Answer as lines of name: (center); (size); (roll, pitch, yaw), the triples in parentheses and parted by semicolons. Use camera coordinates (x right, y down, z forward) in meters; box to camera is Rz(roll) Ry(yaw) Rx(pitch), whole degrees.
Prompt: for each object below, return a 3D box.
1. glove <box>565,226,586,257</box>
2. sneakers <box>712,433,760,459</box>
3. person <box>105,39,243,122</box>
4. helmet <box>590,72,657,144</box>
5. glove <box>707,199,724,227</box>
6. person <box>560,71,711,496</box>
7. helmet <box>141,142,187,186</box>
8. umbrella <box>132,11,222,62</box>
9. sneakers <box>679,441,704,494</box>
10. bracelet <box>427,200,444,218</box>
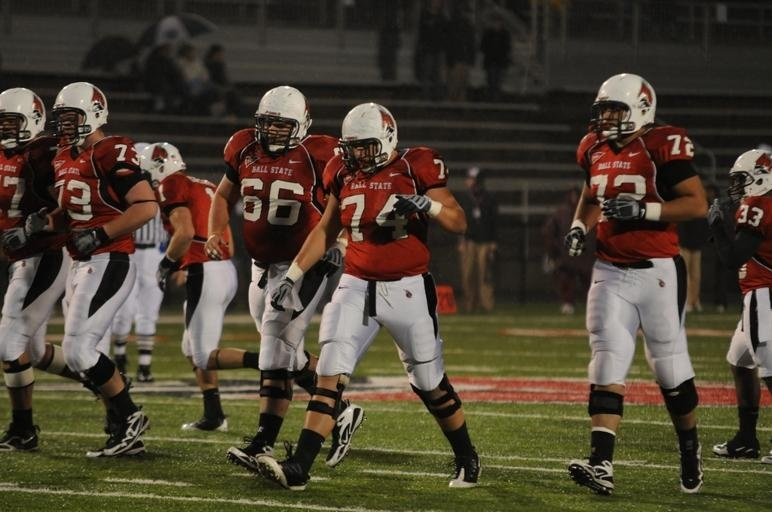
glove: (1.704, -0.135, 12.148); (0.105, 0.238, 0.178); (5, -3, 0)
sneakers: (3.244, 1.762, 12.669); (0.458, 0.227, 0.187); (2, -9, 4)
person: (-3.768, -3.563, 26.302); (1.363, 1.696, 0.845); (-3, 41, 3)
helmet: (2.101, -1.317, 12.170); (0.662, 0.509, 0.496); (-5, 4, -25)
glove: (3.039, -0.401, 12.524); (0.109, 0.306, 0.126); (35, -26, -29)
person: (2.210, 0.190, 12.005); (1.210, 3.564, 1.283); (0, 8, -1)
helmet: (-2.293, -0.941, 14.207); (0.524, 0.406, 0.366); (-15, -16, 0)
umbrella: (-4.331, -4.429, 27.125); (1.445, 0.436, 1.323); (-23, 14, -25)
sneakers: (2.638, 1.803, 11.786); (0.168, 0.430, 0.214); (3, 0, 26)
bracelet: (0.426, -0.407, 11.660); (0.144, 0.099, 0.115); (-3, -25, -48)
